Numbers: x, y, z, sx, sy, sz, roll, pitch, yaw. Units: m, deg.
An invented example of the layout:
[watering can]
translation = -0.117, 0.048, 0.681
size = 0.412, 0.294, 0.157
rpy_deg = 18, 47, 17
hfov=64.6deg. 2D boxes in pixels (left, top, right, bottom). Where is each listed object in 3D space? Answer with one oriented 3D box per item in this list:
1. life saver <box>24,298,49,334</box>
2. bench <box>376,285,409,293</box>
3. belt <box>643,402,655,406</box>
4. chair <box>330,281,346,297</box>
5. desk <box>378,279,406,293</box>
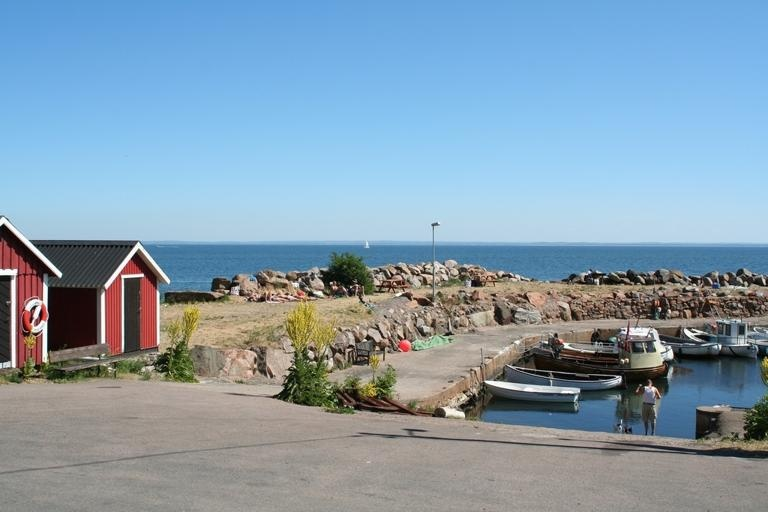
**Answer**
[life saver]
translation = -13.342, 2.266, 23.070
size = 0.355, 1.430, 1.011
rpy_deg = -2, -5, 4
[bench]
translation = 0.693, 3.211, 58.946
size = 2.917, 0.733, 3.563
rpy_deg = -1, -5, 0
[belt]
translation = 11.340, 6.248, 25.886
size = 0.423, 0.195, 0.808
rpy_deg = -3, -5, 18
[chair]
translation = -4.160, 2.989, 53.930
size = 0.860, 1.282, 1.999
rpy_deg = -19, -8, 4
[desk]
translation = 0.743, 2.931, 59.685
size = 1.620, 0.719, 1.691
rpy_deg = -1, 1, 28
